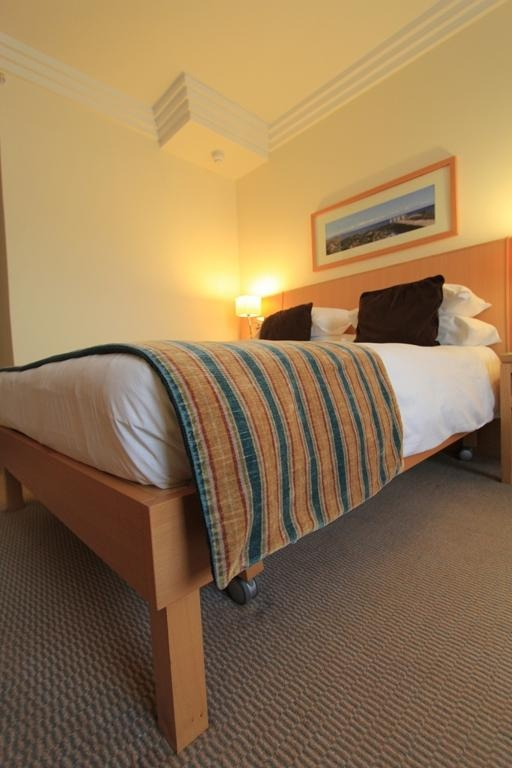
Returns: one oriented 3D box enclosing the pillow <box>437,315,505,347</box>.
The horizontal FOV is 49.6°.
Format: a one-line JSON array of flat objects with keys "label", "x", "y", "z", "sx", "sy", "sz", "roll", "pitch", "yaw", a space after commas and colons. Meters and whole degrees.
[{"label": "pillow", "x": 0.928, "y": -0.231, "z": 2.454, "sx": 0.164, "sy": 0.057, "sz": 0.186, "roll": -9, "pitch": 11, "yaw": -21}]
